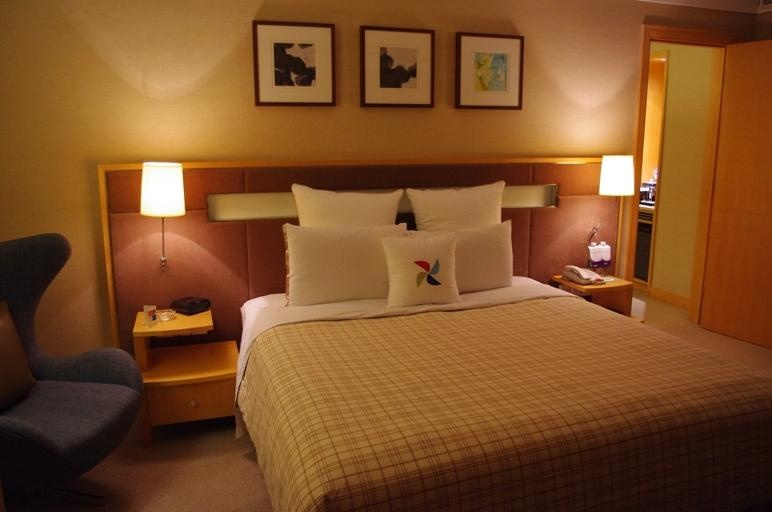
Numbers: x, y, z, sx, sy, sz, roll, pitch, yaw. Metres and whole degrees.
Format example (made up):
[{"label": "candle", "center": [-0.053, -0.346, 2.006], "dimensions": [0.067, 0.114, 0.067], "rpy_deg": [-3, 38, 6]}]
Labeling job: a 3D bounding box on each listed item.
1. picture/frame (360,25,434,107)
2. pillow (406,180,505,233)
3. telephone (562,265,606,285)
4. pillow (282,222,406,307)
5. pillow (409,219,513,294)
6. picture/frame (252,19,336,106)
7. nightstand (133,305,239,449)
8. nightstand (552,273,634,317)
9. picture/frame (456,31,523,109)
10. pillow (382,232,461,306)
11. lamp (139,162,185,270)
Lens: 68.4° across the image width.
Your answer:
[{"label": "picture/frame", "center": [0.060, -1.547, 4.559], "dimensions": [0.700, 0.630, 0.049], "rpy_deg": [-1, 6, -18]}, {"label": "pillow", "center": [0.562, -0.444, 4.577], "dimensions": [0.761, 0.274, 0.537], "rpy_deg": [-1, -31, 4]}, {"label": "telephone", "center": [1.668, 0.126, 4.901], "dimensions": [0.208, 0.071, 0.203], "rpy_deg": [-4, 12, -25]}, {"label": "pillow", "center": [-0.315, 0.059, 4.130], "dimensions": [0.955, 0.570, 0.197], "rpy_deg": [-3, 7, -34]}, {"label": "pillow", "center": [0.551, 0.024, 4.130], "dimensions": [0.538, 0.351, 0.175], "rpy_deg": [-5, 12, -18]}, {"label": "picture/frame", "center": [-0.740, -1.509, 4.358], "dimensions": [0.706, 0.633, 0.051], "rpy_deg": [-1, 7, -16]}, {"label": "nightstand", "center": [-1.405, 0.811, 4.335], "dimensions": [0.826, 0.835, 0.898], "rpy_deg": [-4, 13, -19]}, {"label": "nightstand", "center": [1.820, 0.327, 5.066], "dimensions": [0.495, 0.462, 0.465], "rpy_deg": [-5, 12, -23]}, {"label": "picture/frame", "center": [0.842, -1.580, 4.752], "dimensions": [0.692, 0.623, 0.050], "rpy_deg": [-1, 7, -14]}, {"label": "pillow", "center": [0.229, 0.103, 3.963], "dimensions": [0.512, 0.471, 0.181], "rpy_deg": [-2, -3, -9]}, {"label": "lamp", "center": [-1.610, -0.289, 4.132], "dimensions": [0.325, 0.787, 0.352], "rpy_deg": [-7, 12, -20]}]
